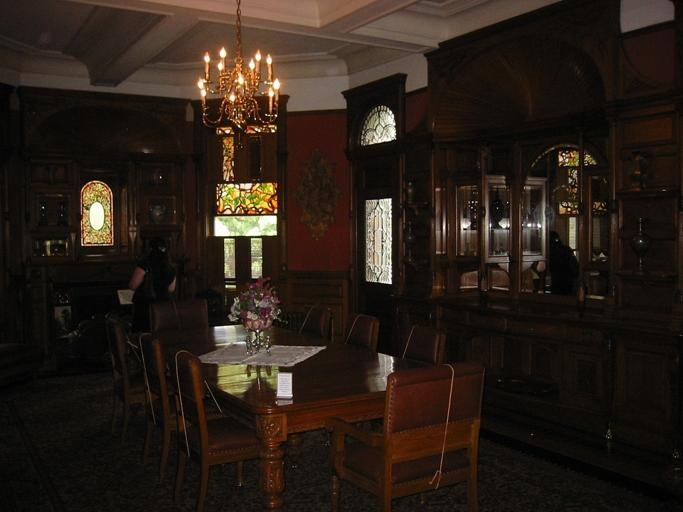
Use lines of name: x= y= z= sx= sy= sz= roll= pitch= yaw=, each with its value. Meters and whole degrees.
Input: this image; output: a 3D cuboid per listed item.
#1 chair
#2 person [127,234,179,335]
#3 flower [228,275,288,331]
chair: x=-0.529 y=1.066 z=4.549 sx=1.761 sy=1.205 sz=3.277 roll=-4 pitch=4 yaw=-37
person: x=-2.323 y=0.498 z=7.012 sx=0.527 sy=1.704 sz=0.475 roll=1 pitch=27 yaw=-25
flower: x=-0.734 y=0.413 z=4.934 sx=0.554 sy=0.602 sz=0.581 roll=-1 pitch=0 yaw=4
